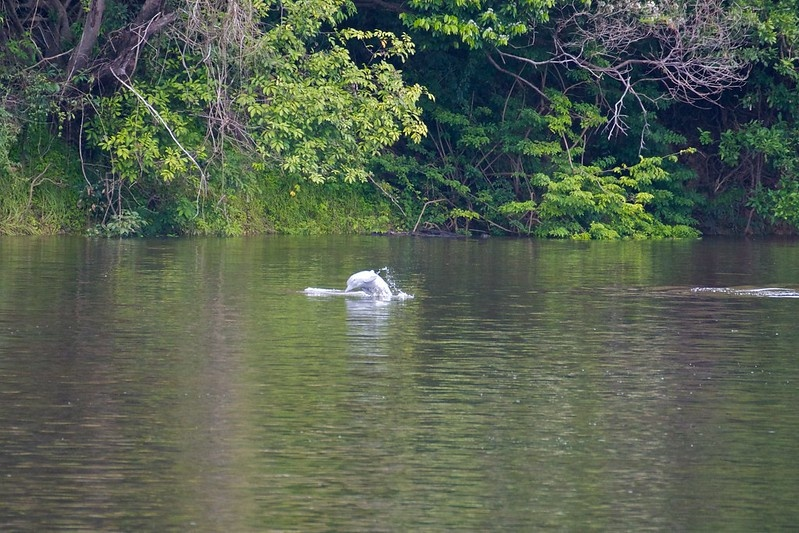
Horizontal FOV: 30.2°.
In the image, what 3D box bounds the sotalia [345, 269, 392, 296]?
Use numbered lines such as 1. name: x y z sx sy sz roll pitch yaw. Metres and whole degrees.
1. sotalia: -0.375 0.339 22.852 0.420 0.262 0.574 6 -20 33
